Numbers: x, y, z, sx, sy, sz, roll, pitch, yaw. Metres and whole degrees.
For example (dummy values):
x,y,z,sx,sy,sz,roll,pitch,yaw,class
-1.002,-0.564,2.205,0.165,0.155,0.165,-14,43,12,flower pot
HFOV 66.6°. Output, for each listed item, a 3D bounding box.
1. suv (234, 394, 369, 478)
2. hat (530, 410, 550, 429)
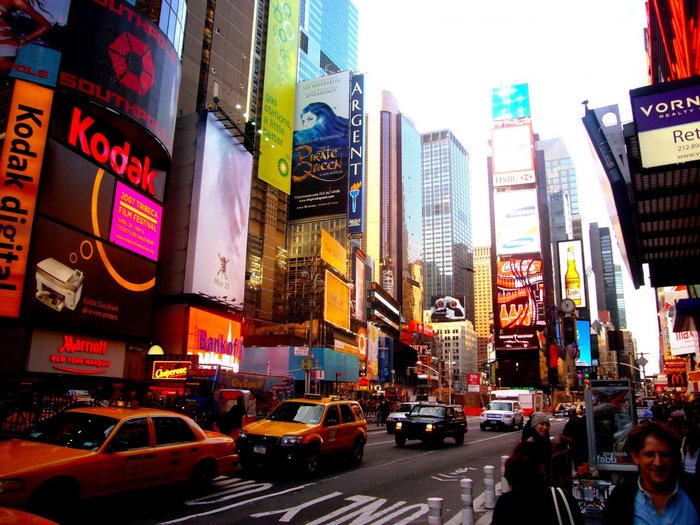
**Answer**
x,y,z,sx,sy,sz,roll,pitch,yaw,class
-1.305,5.460,17.047,2.093,2.232,4.738,-4,-16,32,suv
4.241,3.463,11.829,0.288,0.325,0.386,25,-25,-29,hat
